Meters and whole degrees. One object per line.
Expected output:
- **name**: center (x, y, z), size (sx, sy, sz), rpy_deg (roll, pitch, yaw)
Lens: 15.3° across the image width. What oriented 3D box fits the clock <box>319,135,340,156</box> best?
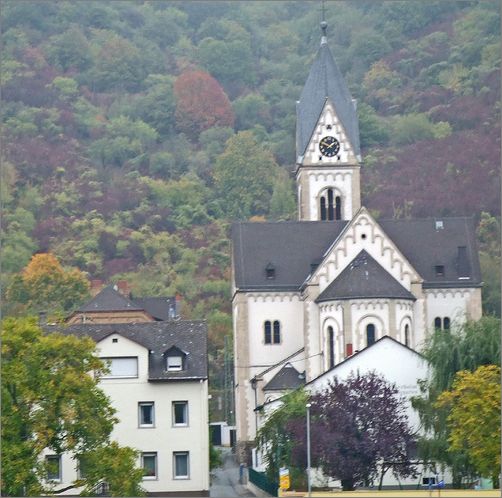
- **clock**: center (5.636, -7.691, 137.144), size (1.511, 1.585, 0.218), rpy_deg (2, -8, 1)
